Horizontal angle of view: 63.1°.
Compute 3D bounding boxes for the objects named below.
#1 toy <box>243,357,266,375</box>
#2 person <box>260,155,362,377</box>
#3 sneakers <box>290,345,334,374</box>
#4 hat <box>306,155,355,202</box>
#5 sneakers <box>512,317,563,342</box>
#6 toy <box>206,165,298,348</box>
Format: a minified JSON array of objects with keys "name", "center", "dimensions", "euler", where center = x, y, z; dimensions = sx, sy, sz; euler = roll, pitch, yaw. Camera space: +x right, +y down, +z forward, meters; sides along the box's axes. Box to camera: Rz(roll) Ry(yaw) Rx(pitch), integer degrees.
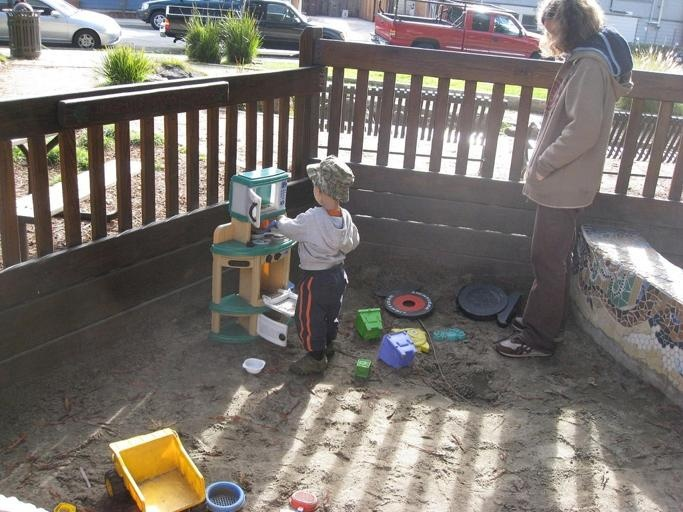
[{"name":"toy","center":[-0.605,0.753,3.808],"dimensions":[0.116,0.049,0.100],"euler":[6,38,5]},{"name":"person","center":[-0.189,0.071,3.763],"dimensions":[0.392,1.408,0.546],"euler":[17,29,28]},{"name":"sneakers","center":[-0.195,0.696,3.897],"dimensions":[0.287,0.294,0.144],"euler":[12,41,-3]},{"name":"hat","center":[-0.084,-0.509,3.667],"dimensions":[0.278,0.273,0.260],"euler":[0,25,-6]},{"name":"sneakers","center":[1.491,0.548,4.344],"dimensions":[0.150,0.196,0.451],"euler":[-3,10,-21]},{"name":"toy","center":[-0.679,0.034,4.065],"dimensions":[0.416,1.263,0.939],"euler":[16,29,23]}]
